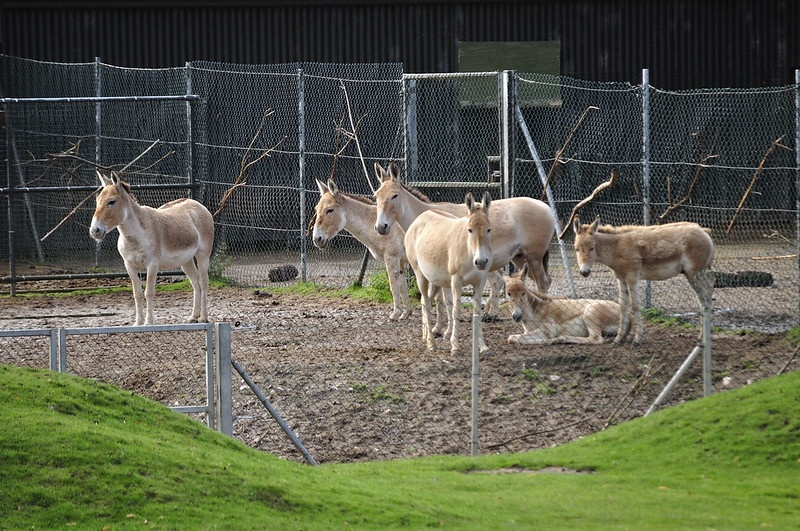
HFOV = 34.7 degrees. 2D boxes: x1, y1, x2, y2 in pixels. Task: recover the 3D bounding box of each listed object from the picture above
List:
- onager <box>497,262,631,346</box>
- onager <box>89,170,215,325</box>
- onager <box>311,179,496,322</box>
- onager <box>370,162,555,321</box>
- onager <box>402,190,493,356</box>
[{"bbox_3d":[3.027,0.907,23.166,2.716,1.408,0.894,7,4,19],"label":"onager"},{"bbox_3d":[-4.751,-0.211,24.771,1.097,2.947,3.674,-3,-2,24],"label":"onager"},{"bbox_3d":[-0.570,-0.217,26.242,0.910,2.713,3.726,8,1,36],"label":"onager"},{"bbox_3d":[1.232,-0.457,23.785,3.822,2.698,1.118,1,-2,-29],"label":"onager"},{"bbox_3d":[1.031,0.240,23.104,1.142,2.668,3.599,-4,5,-16],"label":"onager"}]
